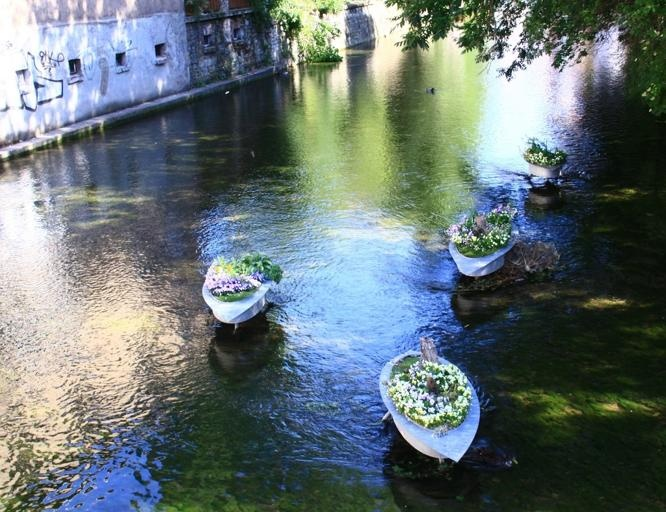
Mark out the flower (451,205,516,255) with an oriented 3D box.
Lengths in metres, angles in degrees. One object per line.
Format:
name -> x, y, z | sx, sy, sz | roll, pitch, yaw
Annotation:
flower -> 3.009, -0.564, 10.816 | 0.901, 0.449, 1.391 | 19, 44, 30

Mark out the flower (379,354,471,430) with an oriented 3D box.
flower -> 1.203, 1.691, 7.035 | 0.866, 0.539, 1.096 | -18, 22, -40
